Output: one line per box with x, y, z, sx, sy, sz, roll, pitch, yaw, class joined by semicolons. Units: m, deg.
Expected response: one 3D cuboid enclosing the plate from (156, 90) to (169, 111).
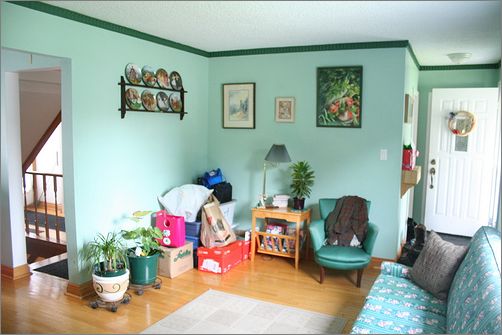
-1.339;-0.915;5.270;0.020;0.247;0.258;-6;-30;31;plate

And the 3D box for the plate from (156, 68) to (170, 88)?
-1.331;-1.241;5.243;0.041;0.310;0.316;-8;2;32;plate

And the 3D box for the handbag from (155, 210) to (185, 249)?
-1.163;0.924;5.025;0.513;0.543;0.289;1;0;24;handbag

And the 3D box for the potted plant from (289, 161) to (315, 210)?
0.811;0.309;5.482;0.400;0.663;0.507;2;13;6;potted plant

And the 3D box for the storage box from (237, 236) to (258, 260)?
-0.100;1.304;5.567;0.295;0.284;0.224;5;7;35;storage box

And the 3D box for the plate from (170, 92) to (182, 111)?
-1.185;-0.947;5.477;0.016;0.242;0.251;-2;-23;29;plate

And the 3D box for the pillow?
2.058;1.097;3.917;0.389;0.710;0.638;27;-7;-5;pillow

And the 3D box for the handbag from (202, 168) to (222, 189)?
-0.638;0.248;5.801;0.244;0.117;0.294;-16;14;-26;handbag

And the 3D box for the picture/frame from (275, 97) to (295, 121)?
0.566;-0.861;5.662;0.386;0.468;0.042;1;5;26;picture/frame

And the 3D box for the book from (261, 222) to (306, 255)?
0.505;1.113;5.503;0.419;0.272;0.620;-4;5;-42;book

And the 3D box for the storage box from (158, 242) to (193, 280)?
-1.072;1.326;5.073;0.426;0.314;0.432;0;2;29;storage box

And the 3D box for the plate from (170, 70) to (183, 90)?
-1.171;-1.253;5.444;0.048;0.236;0.244;0;-14;27;plate

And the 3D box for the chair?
1.247;1.043;5.149;1.007;1.173;1.101;1;3;18;chair

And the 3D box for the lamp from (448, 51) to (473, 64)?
3.437;-1.692;5.770;0.340;0.113;0.278;6;13;27;lamp

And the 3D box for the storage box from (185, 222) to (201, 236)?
-0.879;0.947;5.334;0.207;0.127;0.208;1;2;5;storage box

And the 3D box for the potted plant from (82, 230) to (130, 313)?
-1.818;1.270;4.424;0.583;0.764;0.760;-6;14;-27;potted plant

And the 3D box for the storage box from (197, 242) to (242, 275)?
-0.487;1.333;5.203;0.380;0.272;0.569;1;1;26;storage box

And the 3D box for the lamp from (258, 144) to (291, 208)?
0.378;0.183;5.642;0.487;1.008;0.514;1;13;4;lamp

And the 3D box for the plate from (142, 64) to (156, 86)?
-1.482;-1.229;5.037;0.035;0.266;0.263;0;28;35;plate

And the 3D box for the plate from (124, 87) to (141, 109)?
-1.639;-0.881;4.862;0.054;0.236;0.240;1;9;33;plate

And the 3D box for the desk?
0.474;1.094;5.595;0.849;0.788;0.524;2;5;27;desk

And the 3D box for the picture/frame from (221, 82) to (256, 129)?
-0.186;-0.967;5.909;0.751;0.909;0.062;3;7;22;picture/frame

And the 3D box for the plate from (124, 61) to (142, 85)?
-1.633;-1.209;4.862;0.063;0.272;0.249;8;15;31;plate

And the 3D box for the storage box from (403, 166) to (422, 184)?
2.424;0.202;5.287;0.203;0.206;0.648;1;2;29;storage box
